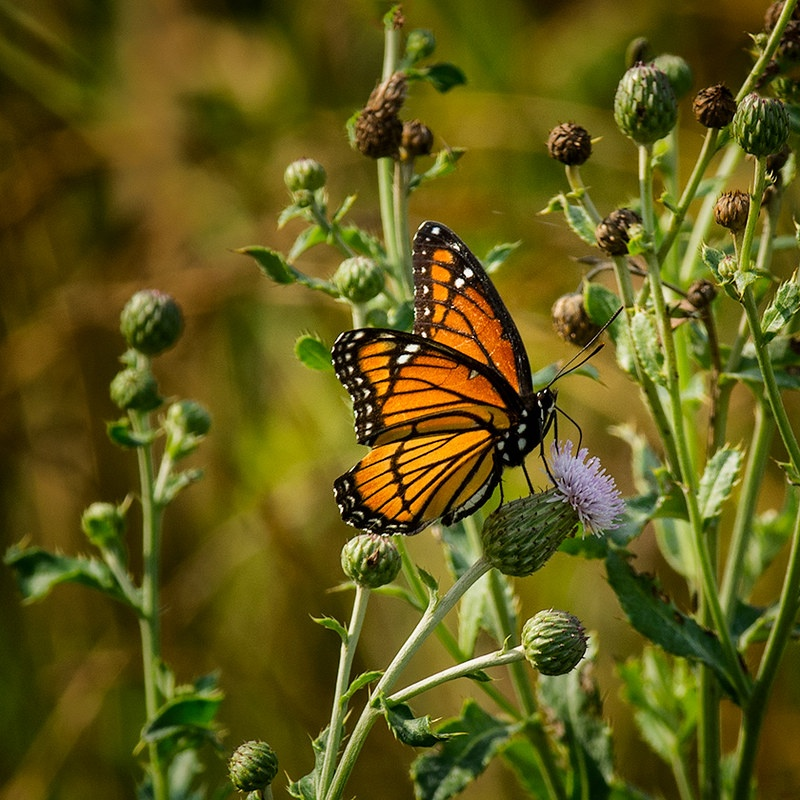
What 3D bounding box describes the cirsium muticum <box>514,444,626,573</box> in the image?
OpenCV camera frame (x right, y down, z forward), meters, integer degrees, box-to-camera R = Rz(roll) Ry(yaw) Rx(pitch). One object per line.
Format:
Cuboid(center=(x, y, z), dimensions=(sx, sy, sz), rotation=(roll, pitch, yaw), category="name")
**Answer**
Cuboid(center=(0.408, 0.240, 2.924), dimensions=(0.288, 0.283, 0.181), rotation=(-17, -4, -3), category="cirsium muticum")
